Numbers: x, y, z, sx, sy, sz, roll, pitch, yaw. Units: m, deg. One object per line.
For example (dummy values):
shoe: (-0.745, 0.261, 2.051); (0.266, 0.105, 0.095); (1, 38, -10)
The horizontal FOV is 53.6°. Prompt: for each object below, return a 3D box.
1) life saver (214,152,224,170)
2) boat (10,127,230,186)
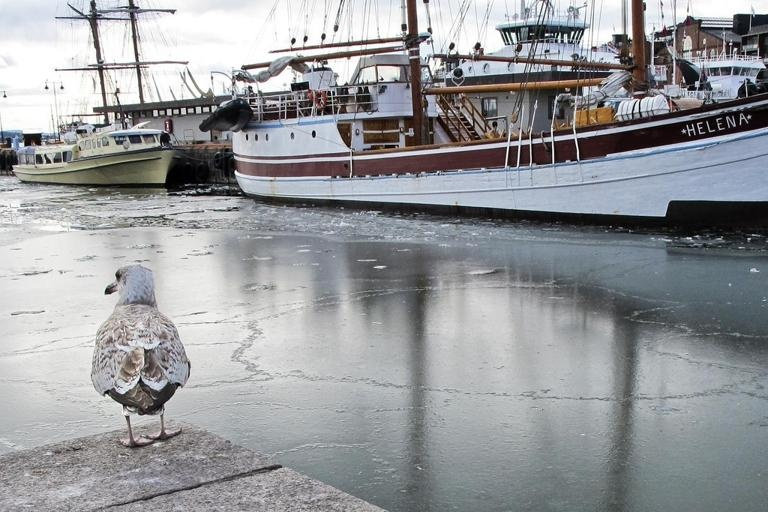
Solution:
life saver: (-9.046, -5.342, 42.008); (0.289, 0.632, 0.797); (-2, 19, -30)
boat: (-16.338, -5.657, 43.457); (15.115, 2.580, 4.545); (3, 9, 38)
